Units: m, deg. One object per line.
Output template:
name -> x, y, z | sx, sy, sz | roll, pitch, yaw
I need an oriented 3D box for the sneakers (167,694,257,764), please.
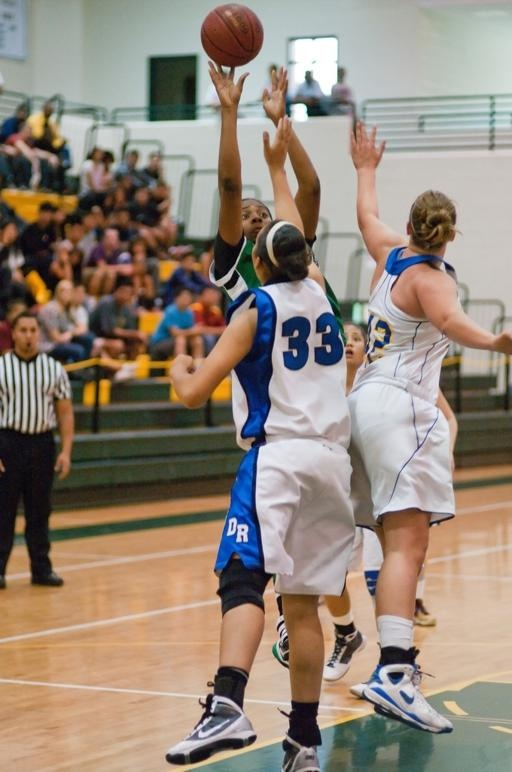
sneakers -> -0.086, 0.696, 1.685 | 0.130, 0.115, 0.187 | -1, -5, 21

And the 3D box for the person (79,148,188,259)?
person -> -1.953, -3.015, 12.988 | 1.480, 1.890, 0.935 | 20, -41, -37

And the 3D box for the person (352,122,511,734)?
person -> 0.439, 0.155, 2.402 | 0.345, 1.509, 0.599 | 0, -4, 6

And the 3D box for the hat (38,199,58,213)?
hat -> -2.660, -2.262, 10.701 | 0.203, 0.193, 0.289 | 2, -5, -13

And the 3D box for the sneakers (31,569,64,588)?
sneakers -> -1.260, 1.209, 5.149 | 0.217, 0.139, 0.081 | -11, -15, 32

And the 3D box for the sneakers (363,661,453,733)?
sneakers -> 0.388, 0.811, 2.166 | 0.222, 0.163, 0.090 | 0, -4, 5

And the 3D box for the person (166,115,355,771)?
person -> -0.024, 0.230, 1.960 | 0.339, 1.331, 0.645 | -1, -5, 25
